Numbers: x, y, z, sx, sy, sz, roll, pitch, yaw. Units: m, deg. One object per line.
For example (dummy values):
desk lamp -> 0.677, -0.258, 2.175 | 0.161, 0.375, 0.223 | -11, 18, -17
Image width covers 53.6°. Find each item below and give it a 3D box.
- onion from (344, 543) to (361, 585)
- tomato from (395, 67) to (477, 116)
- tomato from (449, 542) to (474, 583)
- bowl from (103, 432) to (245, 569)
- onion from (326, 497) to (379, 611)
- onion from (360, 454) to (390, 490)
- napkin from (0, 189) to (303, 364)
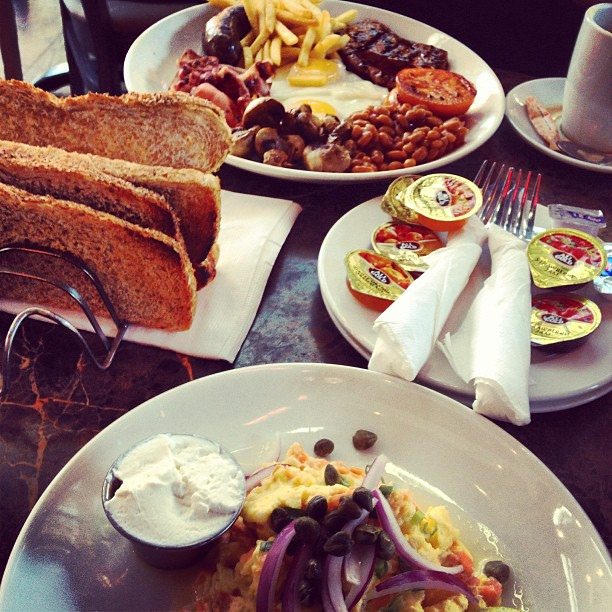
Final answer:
onion -> 0.067, 0.360, 0.861 | 0.037, 0.014, 0.046 | 9, 50, -15
tomato -> 0.436, -0.702, 2.054 | 0.301, 0.270, 0.100 | 11, 95, -3
tomato -> 0.231, 0.388, 0.918 | 0.014, 0.028, 0.034 | -7, 58, -16
bowl -> -0.192, 0.274, 0.908 | 0.229, 0.099, 0.196 | 7, 38, 2
onion -> 0.068, 0.349, 0.879 | 0.025, 0.025, 0.163 | 31, 78, -4
onion -> 0.111, 0.253, 0.947 | 0.018, 0.014, 0.074 | 44, 40, 3
napkin -> -0.326, -0.042, 1.207 | 0.353, 0.033, 0.282 | 13, 44, 6
